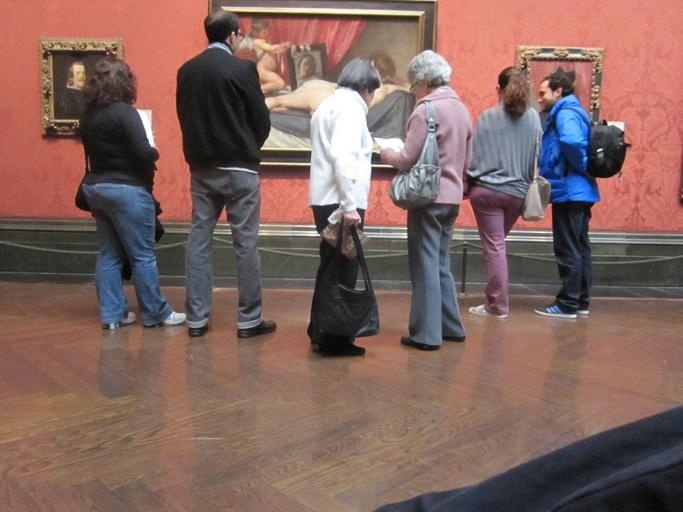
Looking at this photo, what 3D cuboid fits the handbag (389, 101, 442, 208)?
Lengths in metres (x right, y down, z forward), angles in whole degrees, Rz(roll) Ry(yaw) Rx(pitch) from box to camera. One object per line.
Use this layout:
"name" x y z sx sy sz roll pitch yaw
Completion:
"handbag" 0.504 -0.675 4.352 0.329 0.694 0.179 2 12 4

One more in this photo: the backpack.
"backpack" 2.139 -0.887 5.245 0.542 0.587 0.411 1 3 9

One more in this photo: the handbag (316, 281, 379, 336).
"handbag" 0.031 0.348 4.172 0.281 0.311 0.136 5 19 -4

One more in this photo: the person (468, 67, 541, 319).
"person" 1.305 -0.475 5.267 0.551 2.031 0.347 4 13 17

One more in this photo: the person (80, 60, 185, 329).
"person" -1.611 -0.458 4.884 0.706 2.001 0.406 -2 12 -11

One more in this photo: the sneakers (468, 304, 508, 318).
"sneakers" 1.239 0.484 5.542 0.118 0.089 0.303 -4 7 -33

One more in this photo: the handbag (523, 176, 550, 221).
"handbag" 1.548 -0.466 5.152 0.172 0.415 0.337 11 4 24

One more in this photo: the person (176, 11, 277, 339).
"person" -0.822 -0.449 4.657 0.669 2.081 0.342 -1 12 -9
